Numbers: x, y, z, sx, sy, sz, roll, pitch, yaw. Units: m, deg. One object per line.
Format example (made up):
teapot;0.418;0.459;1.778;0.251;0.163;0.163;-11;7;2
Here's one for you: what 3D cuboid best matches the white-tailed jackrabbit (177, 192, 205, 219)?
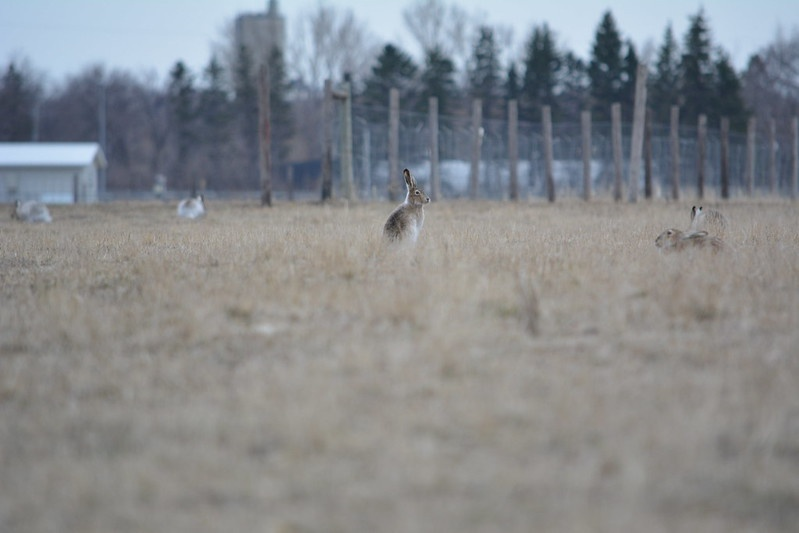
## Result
white-tailed jackrabbit;-2.975;-0.847;22.174;0.420;0.287;0.664;-3;15;-9
